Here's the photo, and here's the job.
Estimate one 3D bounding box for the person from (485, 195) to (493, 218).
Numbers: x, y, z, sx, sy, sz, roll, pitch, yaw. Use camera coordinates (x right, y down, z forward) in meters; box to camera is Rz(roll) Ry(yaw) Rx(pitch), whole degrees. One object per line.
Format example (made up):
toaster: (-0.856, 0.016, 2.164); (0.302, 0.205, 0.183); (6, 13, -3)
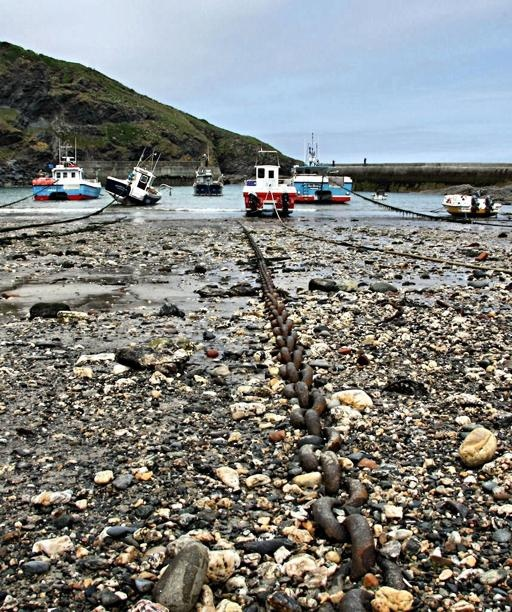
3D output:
person: (13.144, -5.556, 30.040); (0.448, 1.084, 0.961); (4, 15, 21)

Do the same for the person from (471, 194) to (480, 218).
person: (12.347, -5.571, 29.983); (0.468, 1.111, 1.013); (4, 15, 21)

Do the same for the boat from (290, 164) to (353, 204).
boat: (6.333, -11.760, 51.665); (5.578, 3.853, 6.285); (0, 14, 8)

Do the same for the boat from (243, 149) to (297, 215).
boat: (0.701, -7.142, 32.443); (2.756, 2.945, 6.566); (0, 20, 1)

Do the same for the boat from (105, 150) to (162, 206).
boat: (-9.678, -9.581, 42.457); (3.597, 3.099, 4.342); (-3, 14, -8)

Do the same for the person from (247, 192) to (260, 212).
person: (-0.163, -6.042, 31.047); (0.844, 1.025, 1.168); (0, -1, 2)
